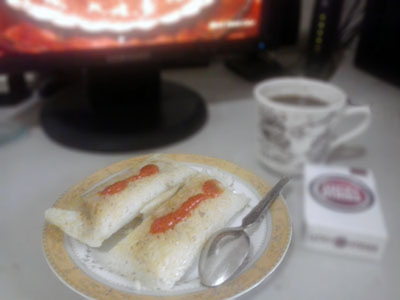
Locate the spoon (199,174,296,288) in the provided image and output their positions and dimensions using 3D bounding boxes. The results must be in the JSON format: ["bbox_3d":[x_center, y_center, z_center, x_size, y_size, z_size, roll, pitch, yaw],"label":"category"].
[{"bbox_3d":[0.104,0.174,0.750,0.093,0.047,0.401,28,29,20],"label":"spoon"}]

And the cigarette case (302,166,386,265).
[{"bbox_3d":[0.331,0.129,0.775,0.179,0.069,0.242,7,45,8],"label":"cigarette case"}]

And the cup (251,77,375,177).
[{"bbox_3d":[0.284,-0.074,0.885,0.307,0.243,0.256,19,40,30],"label":"cup"}]
